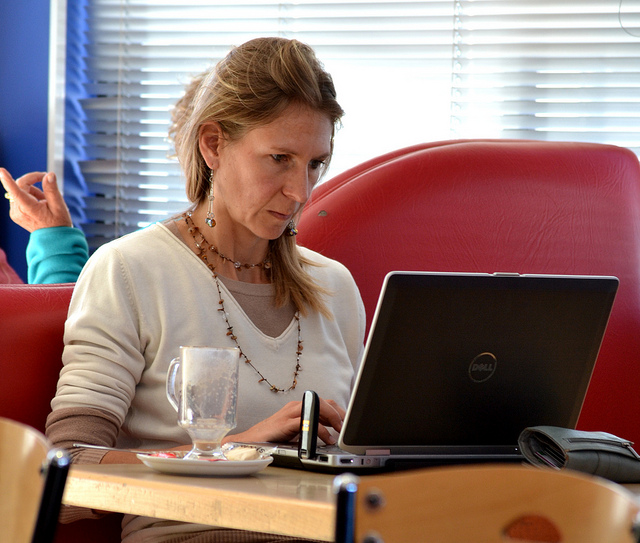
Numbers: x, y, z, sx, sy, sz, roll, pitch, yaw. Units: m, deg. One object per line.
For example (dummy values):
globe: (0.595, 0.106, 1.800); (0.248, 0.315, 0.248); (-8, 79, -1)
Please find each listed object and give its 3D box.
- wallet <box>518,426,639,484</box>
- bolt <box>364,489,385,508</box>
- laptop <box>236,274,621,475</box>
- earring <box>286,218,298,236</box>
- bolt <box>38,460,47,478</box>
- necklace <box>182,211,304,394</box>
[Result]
wallet: (0.365, 0.244, 0.860); (0.166, 0.063, 0.102); (4, 8, -20)
bolt: (0.039, 0.161, 0.456); (0.016, 0.014, 0.003); (3, -3, -6)
laptop: (0.148, 0.164, 1.007); (0.550, 0.246, 0.498); (0, -10, -6)
earring: (-0.067, -0.106, 1.478); (0.015, 0.052, 0.045); (-2, 1, 30)
bolt: (-0.215, 0.148, 0.485); (0.004, 0.013, 0.010); (6, -20, -32)
necklace: (-0.163, 0.054, 1.393); (0.216, 0.339, 0.319); (0, 10, -44)
